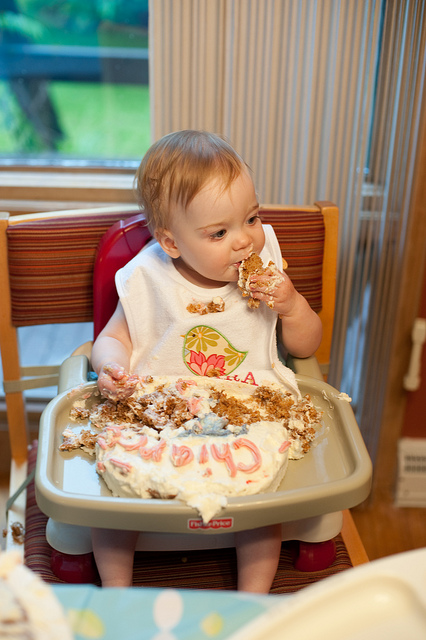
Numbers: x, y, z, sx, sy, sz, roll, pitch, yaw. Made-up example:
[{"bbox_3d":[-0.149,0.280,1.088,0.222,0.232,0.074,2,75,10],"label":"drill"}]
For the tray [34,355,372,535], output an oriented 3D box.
[{"bbox_3d":[-0.014,0.169,0.768,0.498,0.100,0.353,-1,31,-5],"label":"tray"}]
